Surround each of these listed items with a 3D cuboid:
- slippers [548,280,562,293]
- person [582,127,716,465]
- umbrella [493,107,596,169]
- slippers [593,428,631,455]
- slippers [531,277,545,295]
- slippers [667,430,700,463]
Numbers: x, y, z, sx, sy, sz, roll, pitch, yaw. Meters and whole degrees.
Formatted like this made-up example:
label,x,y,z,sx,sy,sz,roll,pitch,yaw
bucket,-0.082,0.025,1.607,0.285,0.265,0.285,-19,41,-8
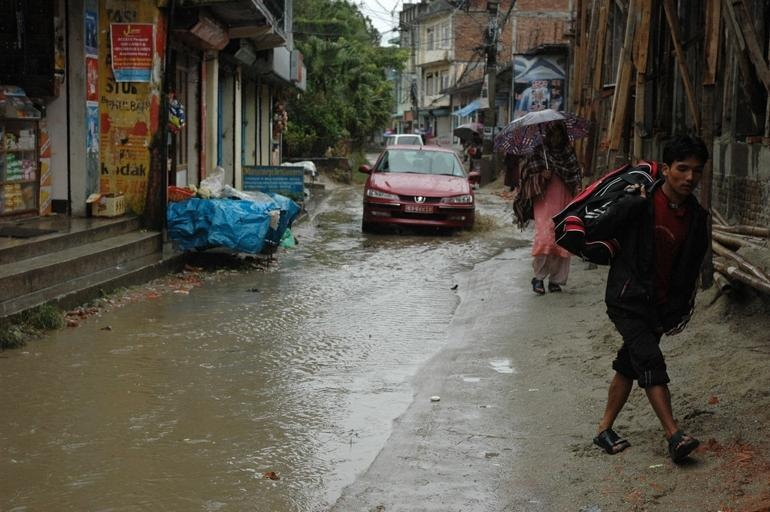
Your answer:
label,x,y,z,sx,sy,sz,roll,pitch,yaw
slippers,2.195,0.404,9.415,0.172,0.163,0.104,-1,12,15
person,1.884,0.197,5.197,0.779,2.070,0.674,11,17,40
umbrella,2.139,-1.673,9.718,1.299,0.436,1.297,5,-9,7
slippers,1.644,1.352,5.300,0.137,0.113,0.242,-25,24,-24
slippers,1.981,0.378,9.390,0.176,0.182,0.289,2,13,12
slippers,2.001,1.276,4.876,0.122,0.114,0.248,-27,-13,-10
